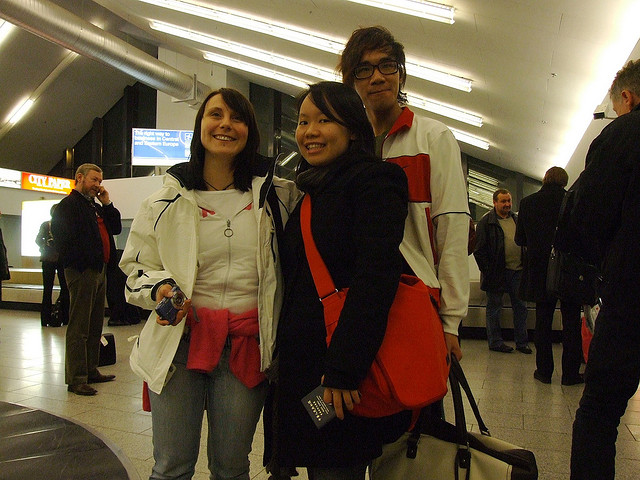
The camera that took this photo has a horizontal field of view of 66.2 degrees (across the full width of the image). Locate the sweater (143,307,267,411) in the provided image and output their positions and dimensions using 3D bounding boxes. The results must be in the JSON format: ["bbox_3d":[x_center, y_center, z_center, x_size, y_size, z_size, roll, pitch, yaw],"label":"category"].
[{"bbox_3d":[-0.453,0.458,1.898,0.311,0.387,0.158,1,8,-8],"label":"sweater"}]

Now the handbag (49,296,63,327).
[{"bbox_3d":[-3.914,1.053,7.239,0.228,0.473,0.143,5,-3,10],"label":"handbag"}]

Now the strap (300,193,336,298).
[{"bbox_3d":[-0.030,-0.005,1.687,0.074,0.407,0.053,-28,-27,35],"label":"strap"}]

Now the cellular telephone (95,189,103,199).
[{"bbox_3d":[-1.947,-0.396,4.292,0.058,0.081,0.062,5,-2,-2],"label":"cellular telephone"}]

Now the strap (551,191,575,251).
[{"bbox_3d":[1.249,-0.096,2.517,0.028,0.305,0.071,25,17,40],"label":"strap"}]

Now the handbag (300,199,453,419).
[{"bbox_3d":[0.230,0.260,1.877,0.499,0.941,0.582,-5,-8,17],"label":"handbag"}]

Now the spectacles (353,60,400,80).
[{"bbox_3d":[0.224,-0.693,2.006,0.178,0.055,0.040,6,-2,8],"label":"spectacles"}]

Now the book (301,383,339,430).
[{"bbox_3d":[-0.005,0.520,1.532,0.118,0.098,0.035,4,-3,38],"label":"book"}]
